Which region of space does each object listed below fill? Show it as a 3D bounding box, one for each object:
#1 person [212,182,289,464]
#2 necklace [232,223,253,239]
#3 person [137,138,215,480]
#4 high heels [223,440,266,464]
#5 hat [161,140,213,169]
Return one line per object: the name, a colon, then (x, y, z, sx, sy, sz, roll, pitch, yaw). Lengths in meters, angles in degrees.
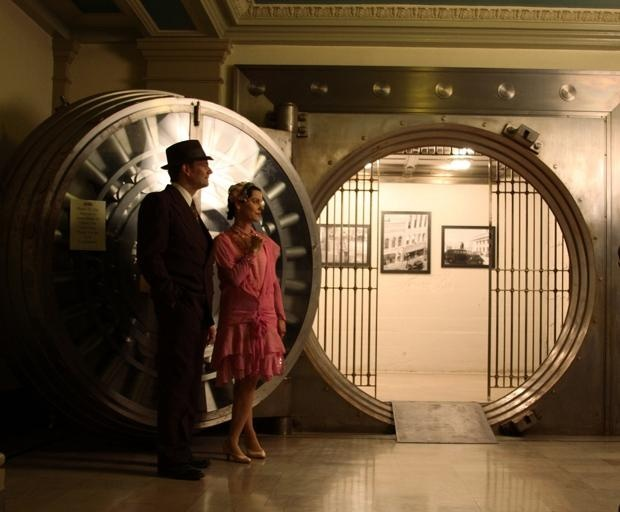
person: (-0.334, 0.383, 3.422, 0.386, 1.574, 0.384, 1, 2, -4)
necklace: (-0.369, -0.135, 3.348, 0.085, 0.081, 0.058, 1, -6, 4)
person: (-0.682, 0.270, 3.145, 0.393, 1.745, 0.315, 1, 2, -14)
high heels: (-0.371, 1.101, 3.446, 0.205, 0.102, 0.119, -9, -14, 29)
hat: (-0.642, -0.550, 3.172, 0.179, 0.078, 0.143, -16, 4, -44)
